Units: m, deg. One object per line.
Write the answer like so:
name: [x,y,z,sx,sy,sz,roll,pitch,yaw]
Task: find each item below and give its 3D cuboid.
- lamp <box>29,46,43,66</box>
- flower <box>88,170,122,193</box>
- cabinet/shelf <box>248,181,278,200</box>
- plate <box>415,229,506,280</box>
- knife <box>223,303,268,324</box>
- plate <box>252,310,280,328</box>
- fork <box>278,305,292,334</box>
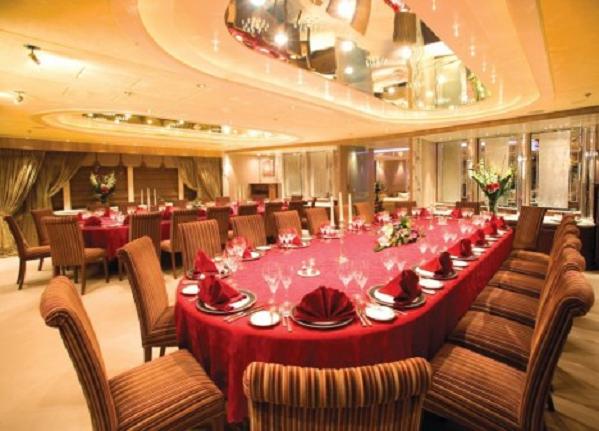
lamp: [-2.930,-1.758,4.267,0.087,0.121,0.378,-29,48,-12]
flower: [-5.328,-0.933,10.483,0.615,0.628,0.616,11,13,27]
cabinet/shelf: [-1.232,-0.807,13.186,0.962,0.930,0.592,3,8,20]
plate: [1.566,0.356,3.773,0.319,0.203,1.355,-2,0,38]
knife: [-0.399,0.710,2.802,0.094,0.025,0.367,17,20,39]
plate: [-0.245,0.730,2.731,0.212,0.071,0.163,-4,5,20]
fork: [-0.104,0.740,2.719,0.059,0.028,0.239,1,18,-5]
